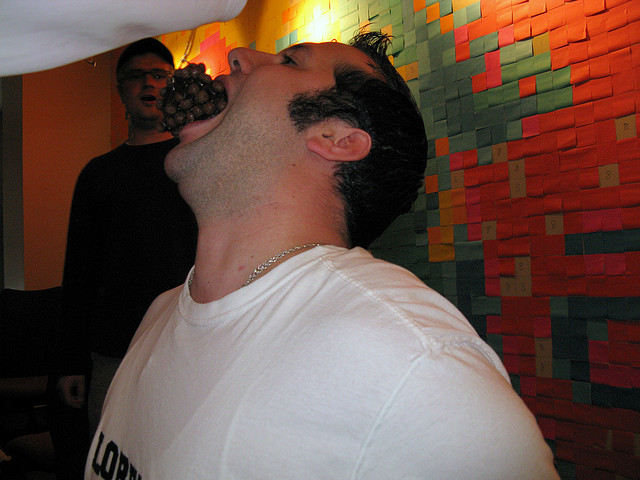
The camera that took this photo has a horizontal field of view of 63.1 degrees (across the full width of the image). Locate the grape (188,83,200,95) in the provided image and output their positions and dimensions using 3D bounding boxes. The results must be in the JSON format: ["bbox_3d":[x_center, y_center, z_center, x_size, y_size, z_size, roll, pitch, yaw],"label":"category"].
[{"bbox_3d":[-0.296,-0.355,1.225,0.016,0.021,0.024,0,6,-3],"label":"grape"}]

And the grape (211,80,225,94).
[{"bbox_3d":[-0.240,-0.363,1.236,0.027,0.028,0.016,-37,-19,-15],"label":"grape"}]

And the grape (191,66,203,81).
[{"bbox_3d":[-0.286,-0.389,1.215,0.018,0.024,0.026,1,2,-2],"label":"grape"}]

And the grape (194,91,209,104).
[{"bbox_3d":[-0.279,-0.338,1.235,0.025,0.028,0.016,-14,-11,-4],"label":"grape"}]

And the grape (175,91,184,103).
[{"bbox_3d":[-0.331,-0.340,1.238,0.018,0.026,0.020,1,3,18],"label":"grape"}]

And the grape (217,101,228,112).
[{"bbox_3d":[-0.233,-0.320,1.244,0.021,0.023,0.013,-24,-21,5],"label":"grape"}]

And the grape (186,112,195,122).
[{"bbox_3d":[-0.308,-0.296,1.249,0.016,0.022,0.017,0,7,10],"label":"grape"}]

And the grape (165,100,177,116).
[{"bbox_3d":[-0.352,-0.315,1.243,0.022,0.026,0.031,6,24,24],"label":"grape"}]

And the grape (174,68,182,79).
[{"bbox_3d":[-0.334,-0.395,1.238,0.011,0.023,0.037,-3,8,-34],"label":"grape"}]

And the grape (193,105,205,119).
[{"bbox_3d":[-0.289,-0.306,1.250,0.024,0.028,0.026,0,2,12],"label":"grape"}]

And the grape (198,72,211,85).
[{"bbox_3d":[-0.270,-0.380,1.229,0.021,0.026,0.019,22,-9,-3],"label":"grape"}]

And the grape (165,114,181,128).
[{"bbox_3d":[-0.352,-0.284,1.248,0.021,0.024,0.030,5,-1,-3],"label":"grape"}]
